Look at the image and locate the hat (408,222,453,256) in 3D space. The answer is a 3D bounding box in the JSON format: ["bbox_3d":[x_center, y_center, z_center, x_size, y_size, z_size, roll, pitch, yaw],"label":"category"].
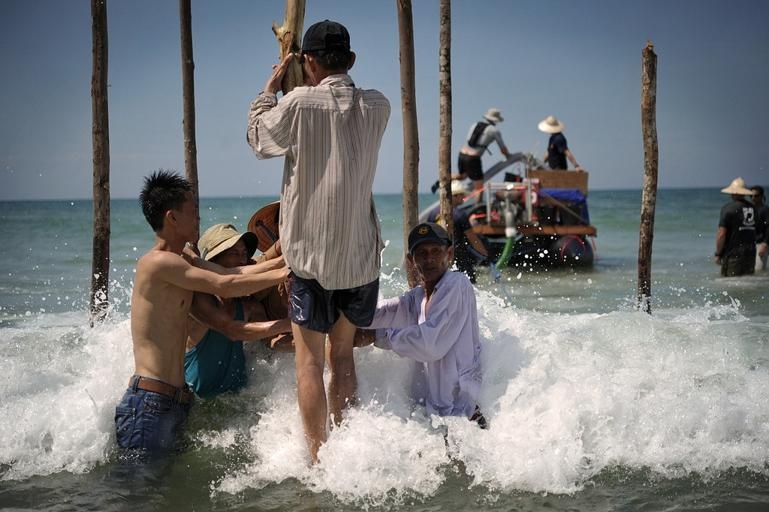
[{"bbox_3d":[0.443,-0.231,9.915,0.417,0.322,0.603,-12,-7,8],"label":"hat"}]

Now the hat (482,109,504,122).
[{"bbox_3d":[2.167,-2.774,18.474,0.286,0.265,0.443,0,4,-3],"label":"hat"}]

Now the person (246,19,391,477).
[{"bbox_3d":[-0.589,-0.102,9.083,1.243,4.302,0.682,0,4,-1],"label":"person"}]

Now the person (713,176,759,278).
[{"bbox_3d":[6.347,-0.494,16.774,0.711,1.788,0.971,1,4,22],"label":"person"}]

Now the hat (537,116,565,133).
[{"bbox_3d":[3.325,-2.585,18.527,0.416,0.365,1.170,0,4,7],"label":"hat"}]

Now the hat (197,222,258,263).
[{"bbox_3d":[-1.787,-0.227,10.213,0.513,0.340,0.635,-15,1,-30],"label":"hat"}]

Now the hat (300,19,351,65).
[{"bbox_3d":[-0.507,-2.105,9.022,0.538,0.354,0.399,8,-8,-4],"label":"hat"}]
